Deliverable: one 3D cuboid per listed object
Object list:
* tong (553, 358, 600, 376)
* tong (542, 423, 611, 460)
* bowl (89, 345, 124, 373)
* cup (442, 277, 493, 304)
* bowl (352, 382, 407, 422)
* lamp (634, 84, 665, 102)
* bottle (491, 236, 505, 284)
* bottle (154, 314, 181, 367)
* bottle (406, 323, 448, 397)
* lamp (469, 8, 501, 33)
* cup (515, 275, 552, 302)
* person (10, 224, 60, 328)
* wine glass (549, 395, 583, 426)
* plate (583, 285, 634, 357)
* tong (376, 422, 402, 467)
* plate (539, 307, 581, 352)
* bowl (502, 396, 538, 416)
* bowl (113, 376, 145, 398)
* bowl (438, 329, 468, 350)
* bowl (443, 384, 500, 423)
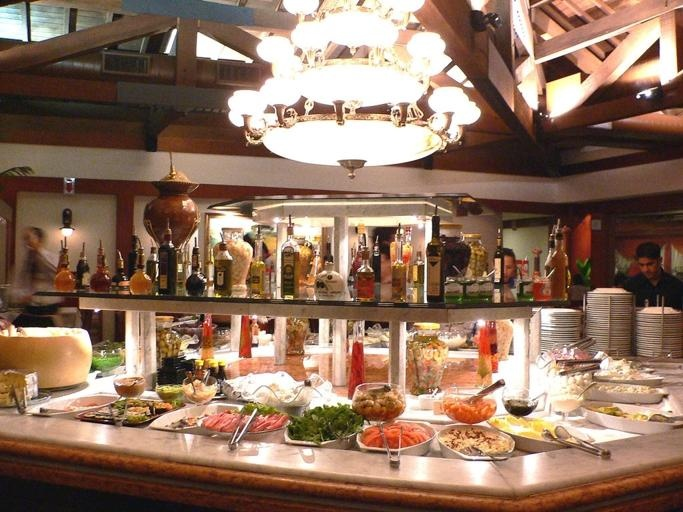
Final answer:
[{"bbox_3d":[1.231,0.574,2.994,0.181,0.039,0.095,-2,2,-2],"label":"tong"},{"bbox_3d":[1.046,0.827,2.564,0.085,0.047,0.268,3,-1,-18],"label":"tong"},{"bbox_3d":[-1.530,0.666,3.805,0.190,0.102,0.174,2,7,0],"label":"bowl"},{"bbox_3d":[0.612,0.167,2.799,0.237,0.087,0.117,-1,8,-2],"label":"cup"},{"bbox_3d":[0.177,0.747,2.854,0.229,0.107,0.216,-5,-25,-2],"label":"bowl"},{"bbox_3d":[2.985,-1.577,5.609,0.189,0.102,0.395,1,-2,-10],"label":"lamp"},{"bbox_3d":[0.865,0.022,3.174,0.054,0.278,0.352,0,-2,15],"label":"bottle"},{"bbox_3d":[-1.084,0.532,3.609,0.158,0.310,0.438,1,-2,-15],"label":"bottle"},{"bbox_3d":[0.499,0.592,3.417,0.228,0.408,0.471,0,-2,6],"label":"bottle"},{"bbox_3d":[1.104,-1.800,4.416,0.086,0.150,0.203,19,5,-22],"label":"lamp"},{"bbox_3d":[0.992,0.166,2.970,0.156,0.094,0.141,0,-1,-7],"label":"cup"},{"bbox_3d":[-3.167,0.205,5.987,0.454,1.021,0.958,2,-3,-26],"label":"person"},{"bbox_3d":[1.178,0.782,3.012,0.196,0.127,0.166,0,2,8],"label":"wine glass"},{"bbox_3d":[1.975,0.489,4.211,0.353,0.480,0.153,1,-3,-9],"label":"plate"},{"bbox_3d":[0.238,0.827,2.536,0.099,0.036,0.279,-3,17,-1],"label":"tong"},{"bbox_3d":[1.576,0.520,4.149,0.239,0.289,0.401,-2,-3,42],"label":"plate"},{"bbox_3d":[0.893,0.731,2.834,0.124,0.063,0.113,-1,-1,0],"label":"bowl"},{"bbox_3d":[-1.152,0.698,3.142,0.135,0.079,0.132,1,2,0],"label":"bowl"},{"bbox_3d":[0.793,0.574,4.066,0.197,0.090,0.178,1,-5,0],"label":"bowl"},{"bbox_3d":[0.623,0.729,2.858,0.233,0.107,0.213,-1,-1,0],"label":"bowl"}]
